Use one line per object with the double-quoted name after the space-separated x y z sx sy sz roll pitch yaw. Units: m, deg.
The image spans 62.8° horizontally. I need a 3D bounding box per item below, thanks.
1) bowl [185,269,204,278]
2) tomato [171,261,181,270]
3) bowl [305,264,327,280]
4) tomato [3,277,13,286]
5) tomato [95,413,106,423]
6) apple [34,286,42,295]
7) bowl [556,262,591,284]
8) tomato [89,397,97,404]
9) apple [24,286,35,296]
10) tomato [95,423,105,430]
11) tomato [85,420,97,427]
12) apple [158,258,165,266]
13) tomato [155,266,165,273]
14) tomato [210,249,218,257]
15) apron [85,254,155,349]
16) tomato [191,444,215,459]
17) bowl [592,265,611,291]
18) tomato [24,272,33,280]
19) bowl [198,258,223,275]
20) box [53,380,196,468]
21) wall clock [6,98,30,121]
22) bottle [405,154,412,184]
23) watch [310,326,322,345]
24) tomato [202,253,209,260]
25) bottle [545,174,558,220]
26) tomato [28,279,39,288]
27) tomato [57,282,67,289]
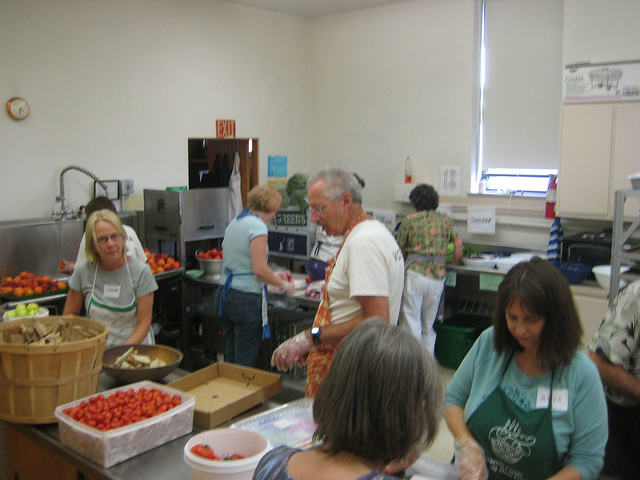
-1.206 0.328 5.044 0.178 0.043 0.130 -2 10 -17 "bowl"
-1.371 0.241 5.037 0.054 0.064 0.137 3 9 11 "tomato"
-0.040 0.275 4.803 0.157 0.130 0.129 1 7 6 "bowl"
-2.491 0.331 4.201 0.060 0.037 0.069 10 52 8 "tomato"
-0.925 0.753 2.212 0.047 0.026 0.028 1 8 -3 "tomato"
-2.223 0.398 4.138 0.051 0.071 0.054 6 14 27 "apple"
1.930 0.247 3.993 0.253 0.169 0.310 1 -1 -15 "bowl"
-1.009 0.712 2.323 0.021 0.013 0.022 -7 1 1 "tomato"
-2.277 0.400 4.105 0.056 0.079 0.061 -1 3 13 "apple"
-0.914 0.775 2.185 0.043 0.011 0.031 9 12 41 "tomato"
-0.959 0.768 2.200 0.048 0.019 0.021 3 9 12 "tomato"
-1.495 0.211 4.949 0.039 0.062 0.057 1 -13 -14 "apple"
-1.477 0.270 4.864 0.050 0.056 0.052 14 17 37 "tomato"
-1.045 0.129 5.166 0.054 0.061 0.058 5 18 -23 "tomato"
-1.208 0.346 3.030 0.290 0.516 0.163 -1 8 -14 "apron"
-0.442 0.801 2.010 0.051 0.059 0.052 9 -7 -29 "tomato"
2.327 0.313 4.337 0.187 0.155 0.202 -2 8 0 "bowl"
-2.355 0.286 4.253 0.043 0.037 0.061 3 33 -9 "tomato"
-1.057 0.257 5.068 0.219 0.097 0.226 0 6 0 "bowl"
-0.776 0.698 2.222 0.306 0.127 0.369 10 14 40 "box"
-2.623 -1.144 4.560 0.036 0.183 0.182 7 10 38 "wall clock"
1.019 -0.829 6.109 0.117 0.336 0.109 1 7 0 "bottle"
-0.021 0.461 2.542 0.047 0.078 0.080 4 -33 2 "watch"
-1.128 0.161 5.150 0.053 0.073 0.058 13 26 20 "tomato"
2.238 -0.405 5.073 0.137 0.386 0.383 3 8 25 "bottle"
-2.289 0.350 4.180 0.049 0.046 0.060 -1 6 -3 "tomato"
-2.107 0.372 4.279 0.058 0.053 0.032 -3 9 -27 "tomato"
